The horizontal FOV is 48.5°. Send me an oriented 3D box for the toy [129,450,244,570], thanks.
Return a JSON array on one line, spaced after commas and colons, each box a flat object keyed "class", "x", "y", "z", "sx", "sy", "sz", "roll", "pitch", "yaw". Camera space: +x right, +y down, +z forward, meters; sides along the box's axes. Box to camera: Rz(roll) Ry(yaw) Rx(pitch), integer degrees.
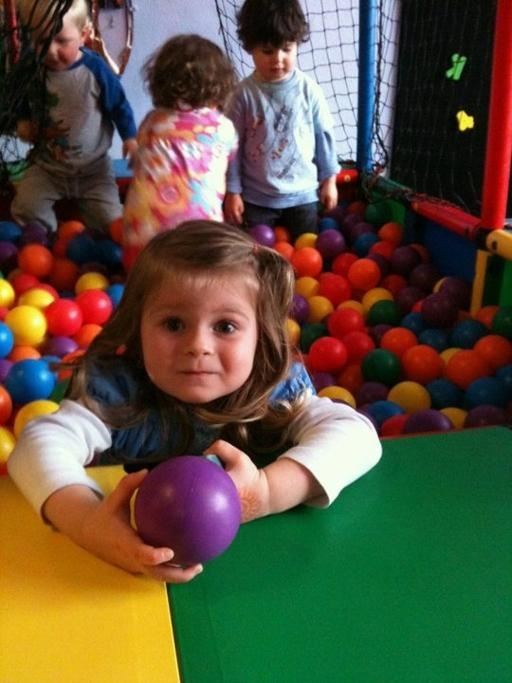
[{"class": "toy", "x": -0.064, "y": 0.160, "z": 0.599, "sx": 0.096, "sy": 0.088, "sz": 0.118, "roll": 22, "pitch": 15, "yaw": 8}]
